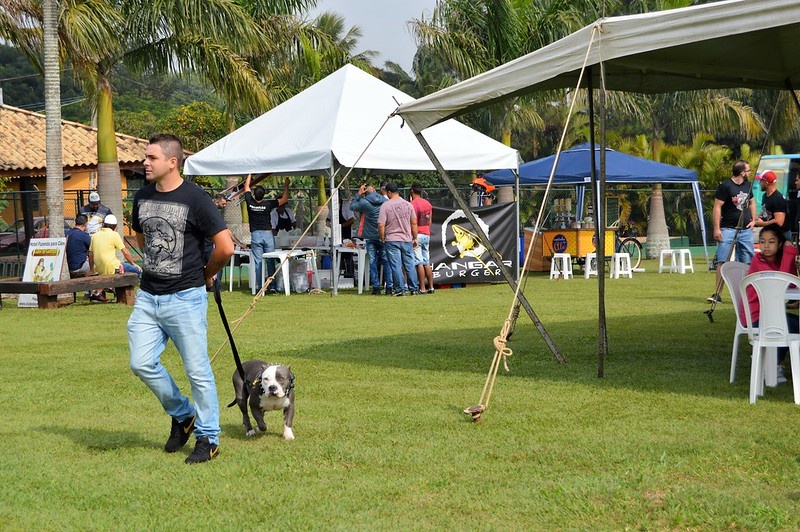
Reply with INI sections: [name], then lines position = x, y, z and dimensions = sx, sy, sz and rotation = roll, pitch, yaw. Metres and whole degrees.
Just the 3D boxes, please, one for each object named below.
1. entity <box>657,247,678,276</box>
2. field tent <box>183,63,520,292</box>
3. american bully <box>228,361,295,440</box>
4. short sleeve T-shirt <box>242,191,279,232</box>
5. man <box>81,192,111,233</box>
[entity]
position = 7.944, -0.136, 25.597
dimensions = 0.681, 0.740, 0.592
rotation = 0, -5, 10
[field tent]
position = -0.875, -2.194, 19.189
dimensions = 4.987, 2.392, 4.963
rotation = -1, 0, -39
[american bully]
position = -1.493, 1.356, 8.956
dimensions = 0.421, 0.794, 1.567
rotation = 1, 0, -33
[short sleeve T-shirt]
position = -2.941, -1.153, 18.264
dimensions = 0.712, 0.837, 0.540
rotation = -2, 5, -22
[man]
position = -6.453, -1.051, 18.244
dimensions = 0.682, 1.009, 0.486
rotation = 6, 12, -6
